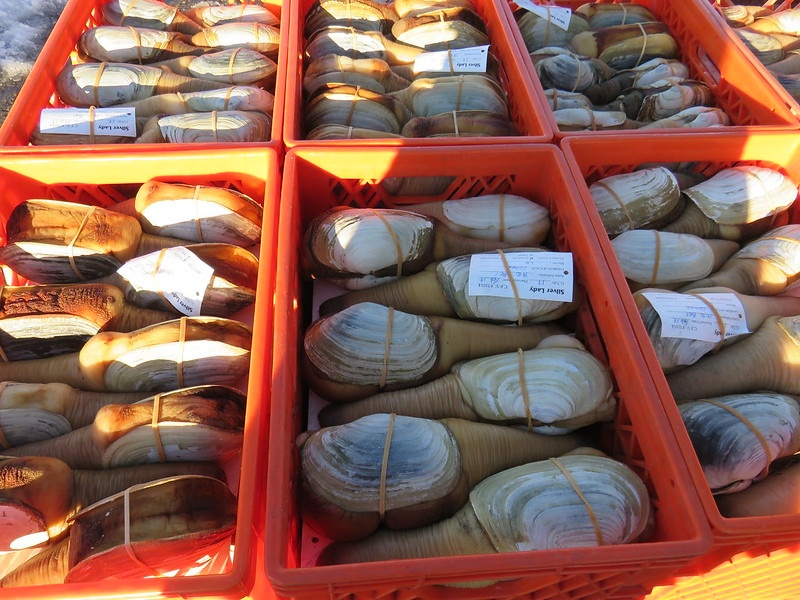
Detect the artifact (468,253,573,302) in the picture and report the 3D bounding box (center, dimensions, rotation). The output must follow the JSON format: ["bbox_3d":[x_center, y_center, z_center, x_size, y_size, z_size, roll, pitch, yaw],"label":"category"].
[{"bbox_3d":[0.406,-0.064,1.985,0.250,0.434,0.100,2,104,7],"label":"artifact"}]

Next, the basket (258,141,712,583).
[{"bbox_3d":[0.317,0.184,1.863,0.886,0.407,1.215,-3,61,-5],"label":"basket"}]

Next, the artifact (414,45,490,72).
[{"bbox_3d":[0.176,-0.867,2.351,0.219,0.039,0.117,-2,84,9],"label":"artifact"}]

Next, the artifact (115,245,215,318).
[{"bbox_3d":[-0.638,-0.061,1.808,0.224,0.088,0.181,12,79,-7],"label":"artifact"}]
